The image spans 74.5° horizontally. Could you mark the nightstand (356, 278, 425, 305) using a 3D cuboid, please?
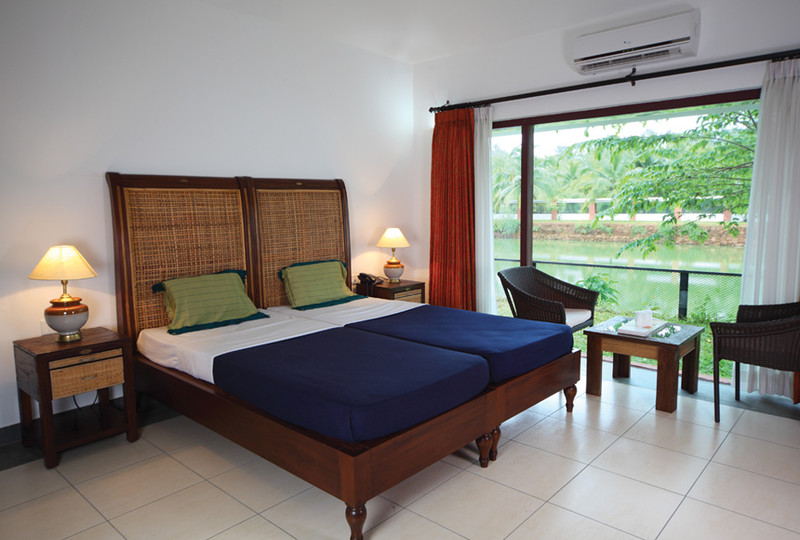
[{"bbox_3d":[-0.101,0.258,7.015,0.504,0.500,0.491,3,7,35],"label":"nightstand"}]

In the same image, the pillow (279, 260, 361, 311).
[{"bbox_3d":[-0.999,0.057,6.379,0.704,0.210,0.763,-6,24,-12],"label":"pillow"}]

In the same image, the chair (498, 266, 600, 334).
[{"bbox_3d":[1.719,0.415,6.249,0.828,0.756,0.946,-10,15,-42],"label":"chair"}]

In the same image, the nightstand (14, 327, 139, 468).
[{"bbox_3d":[-3.014,1.131,4.921,0.819,1.005,0.828,5,10,36],"label":"nightstand"}]

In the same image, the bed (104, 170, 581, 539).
[{"bbox_3d":[-0.974,0.627,5.417,4.000,2.541,3.093,4,9,43],"label":"bed"}]

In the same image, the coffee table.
[{"bbox_3d":[2.640,0.877,5.619,0.986,0.704,0.992,0,2,41],"label":"coffee table"}]

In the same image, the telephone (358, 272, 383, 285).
[{"bbox_3d":[-0.433,0.117,6.937,0.230,0.080,0.176,11,14,39],"label":"telephone"}]

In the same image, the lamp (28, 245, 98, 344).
[{"bbox_3d":[-3.038,0.204,4.809,0.489,0.849,0.428,-10,11,-29],"label":"lamp"}]
